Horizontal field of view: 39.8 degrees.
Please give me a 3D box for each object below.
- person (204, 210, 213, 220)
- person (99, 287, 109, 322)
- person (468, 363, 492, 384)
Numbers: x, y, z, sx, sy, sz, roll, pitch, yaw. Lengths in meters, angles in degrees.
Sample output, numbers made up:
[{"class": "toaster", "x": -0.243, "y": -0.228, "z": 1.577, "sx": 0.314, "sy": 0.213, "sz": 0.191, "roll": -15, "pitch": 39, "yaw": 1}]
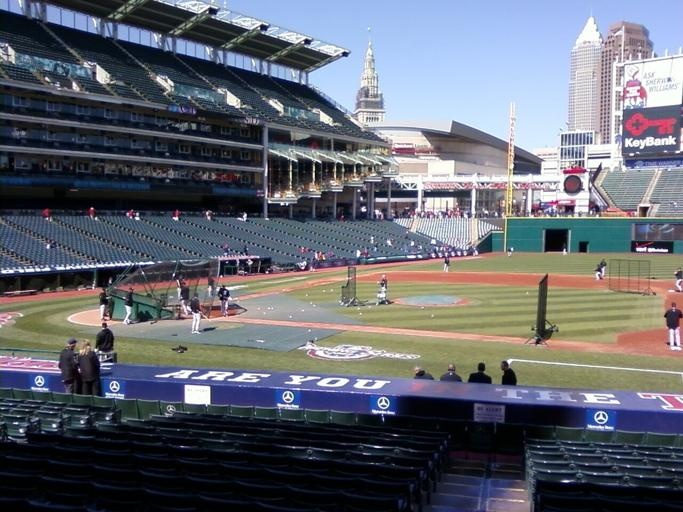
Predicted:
[{"class": "person", "x": -12.369, "y": -3.756, "z": 88.016, "sx": 0.895, "sy": 0.597, "sz": 1.088, "roll": 0, "pitch": 10, "yaw": -4}, {"class": "person", "x": -14.159, "y": 2.921, "z": 56.272, "sx": 0.555, "sy": 1.669, "sz": 1.117, "roll": -3, "pitch": 13, "yaw": -13}, {"class": "person", "x": 6.073, "y": 5.158, "z": 41.541, "sx": 1.012, "sy": 0.880, "sz": 1.336, "roll": 2, "pitch": 12, "yaw": 7}]
